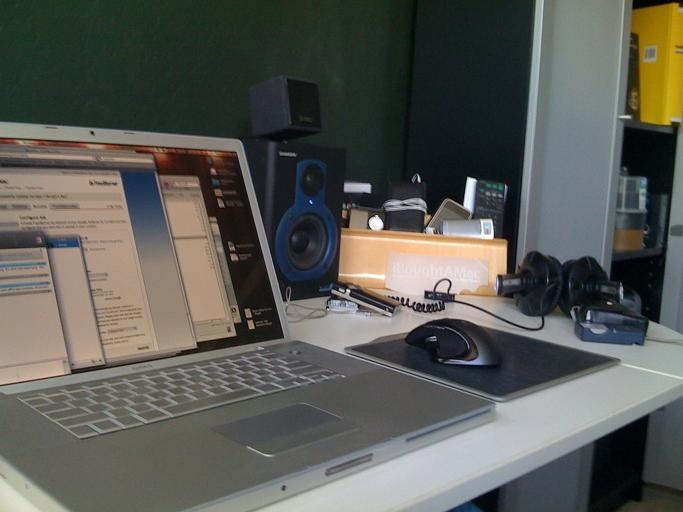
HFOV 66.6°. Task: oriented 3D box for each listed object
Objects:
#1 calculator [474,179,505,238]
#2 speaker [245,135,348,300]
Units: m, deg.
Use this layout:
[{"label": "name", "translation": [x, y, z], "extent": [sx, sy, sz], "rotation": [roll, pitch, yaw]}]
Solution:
[{"label": "calculator", "translation": [0.446, -0.145, 1.576], "extent": [0.062, 0.156, 0.154], "rotation": [6, 9, 28]}, {"label": "speaker", "translation": [-0.126, -0.092, 1.272], "extent": [0.208, 0.376, 0.195], "rotation": [-7, 17, -41]}]
